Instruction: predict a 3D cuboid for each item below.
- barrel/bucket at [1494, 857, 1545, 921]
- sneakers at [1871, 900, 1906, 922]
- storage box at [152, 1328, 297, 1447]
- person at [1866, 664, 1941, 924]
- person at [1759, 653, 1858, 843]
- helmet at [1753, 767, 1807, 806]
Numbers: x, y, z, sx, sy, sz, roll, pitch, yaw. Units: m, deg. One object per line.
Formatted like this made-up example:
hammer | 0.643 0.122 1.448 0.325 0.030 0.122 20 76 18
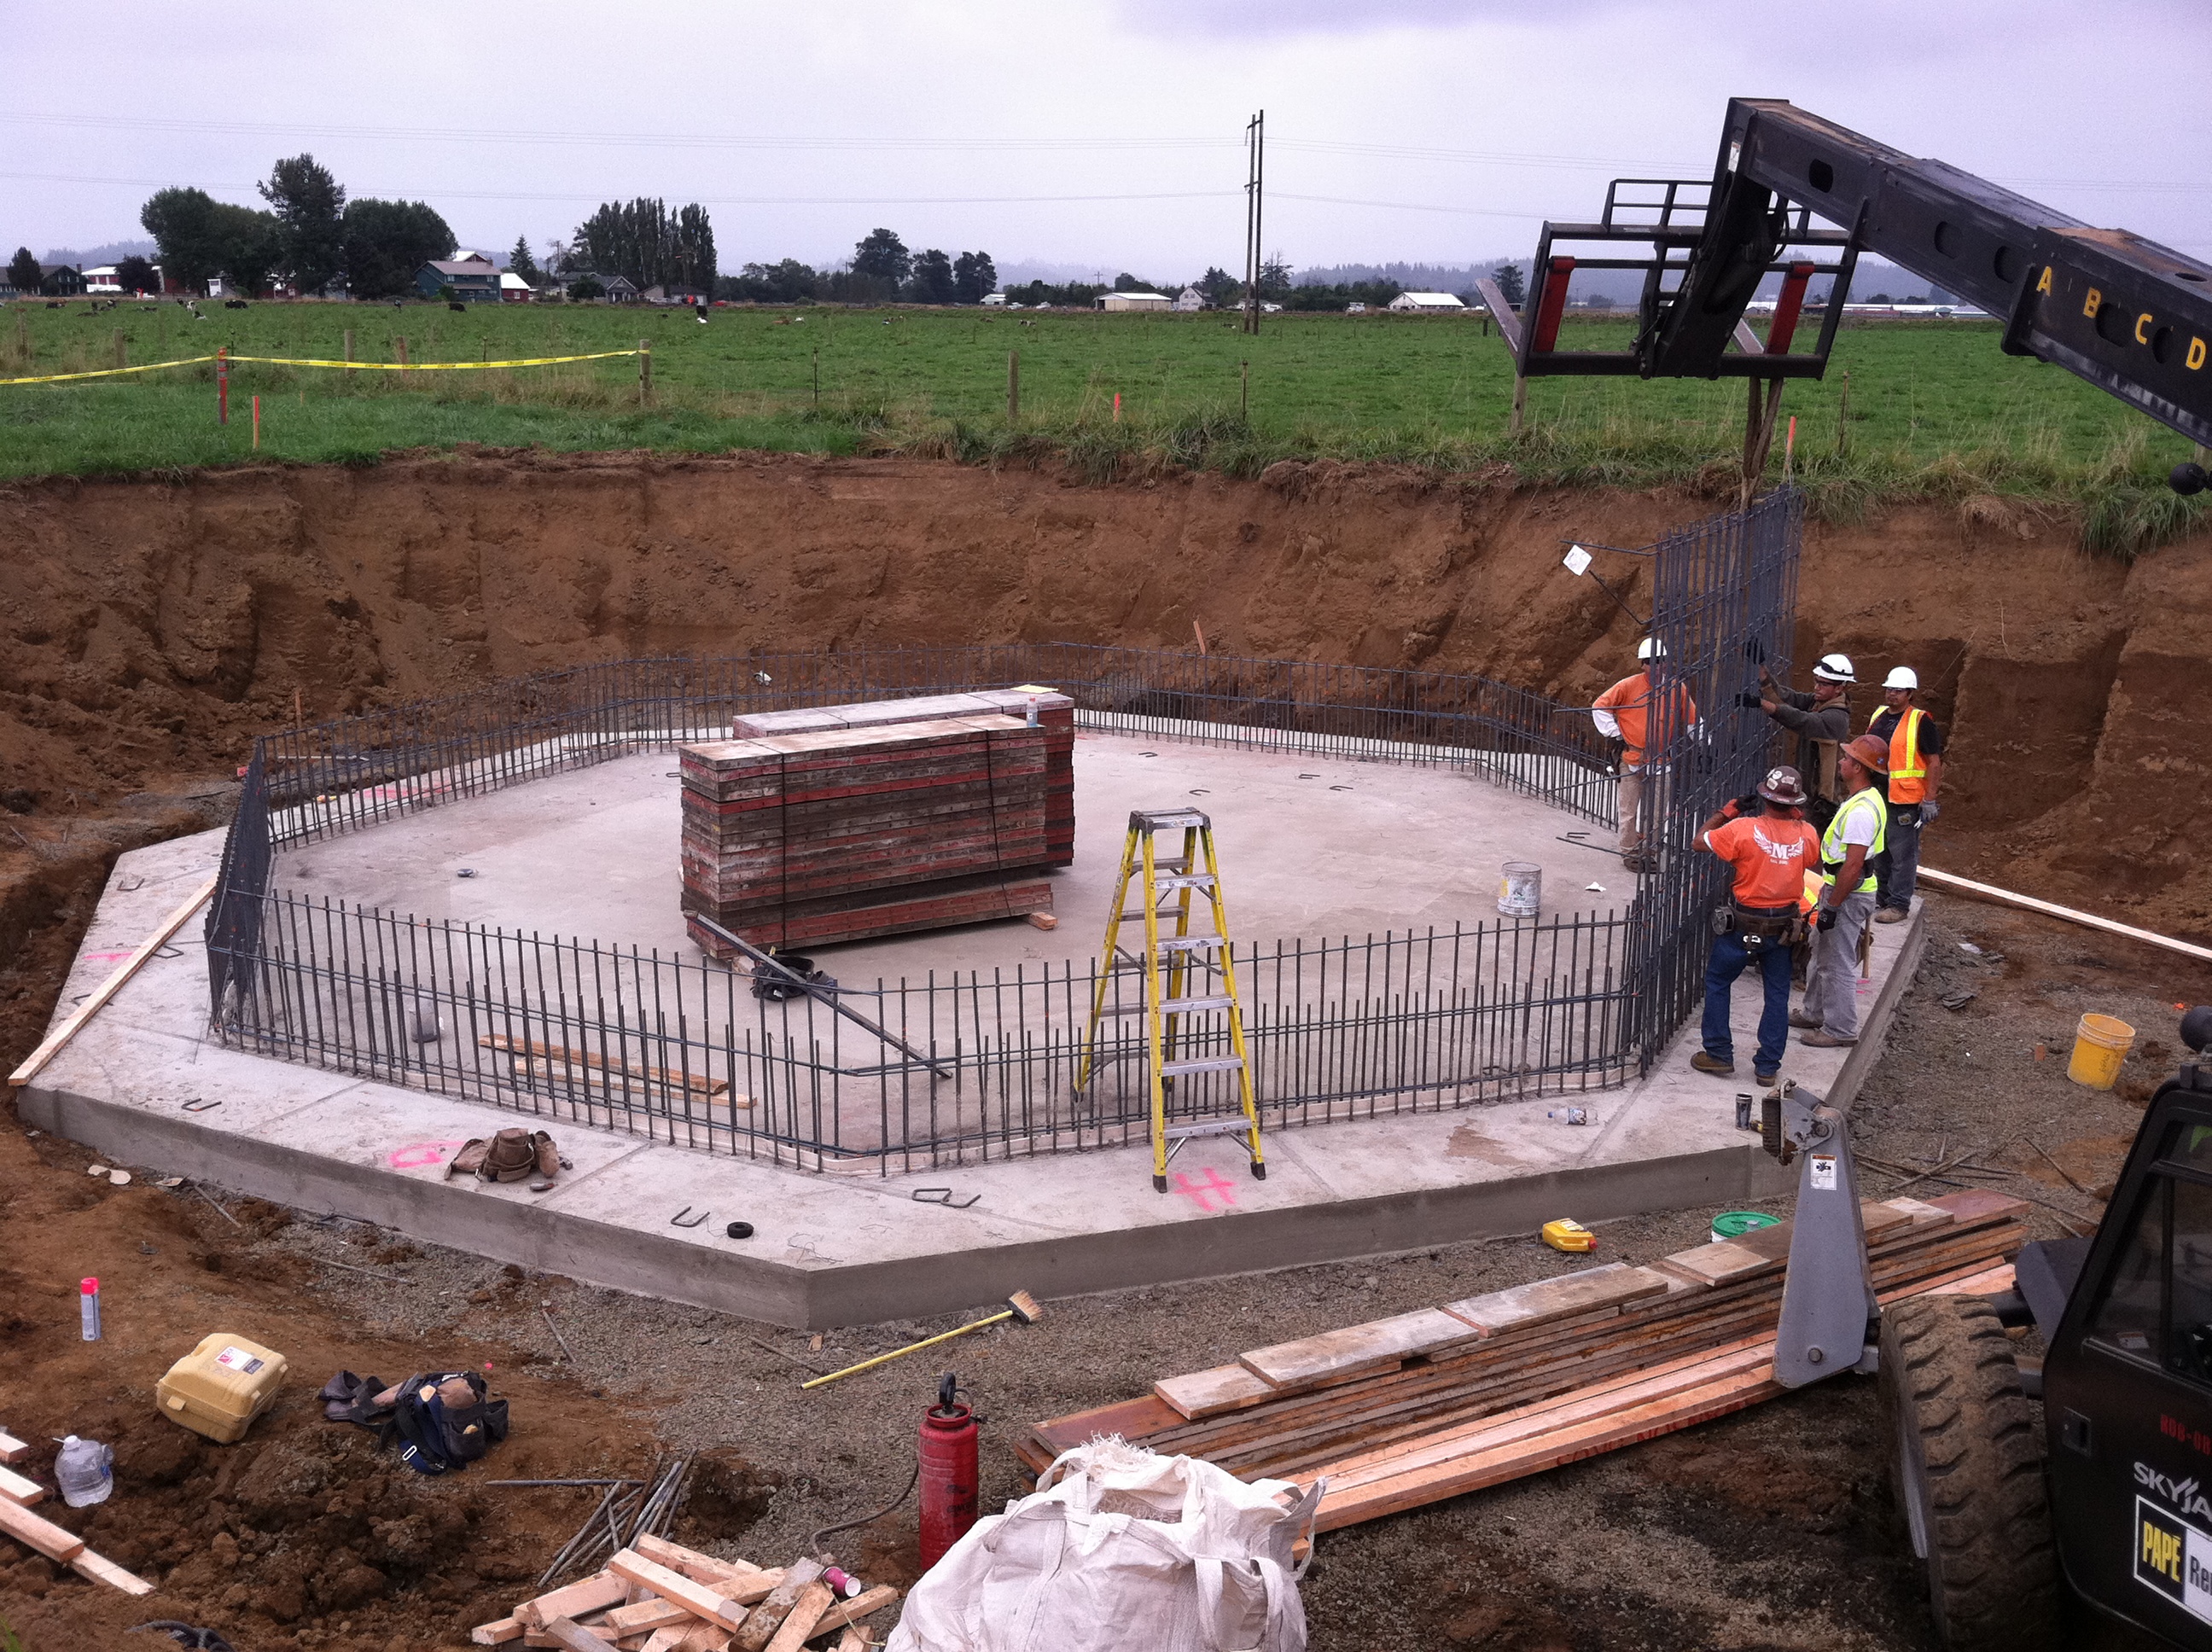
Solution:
barrel/bucket | 3.656 0.578 15.179 0.517 0.457 0.515 0 10 0
sneakers | 7.087 0.780 15.230 0.171 0.157 0.431 1 2 37
storage box | -4.511 2.783 8.511 0.517 0.289 0.518 17 19 6
person | 6.916 -0.264 14.904 0.912 2.238 0.764 -2 9 -6
person | 5.849 -0.405 14.090 0.842 1.967 0.769 1 15 17
helmet | 4.614 -0.270 11.464 0.229 0.146 0.297 10 28 22
